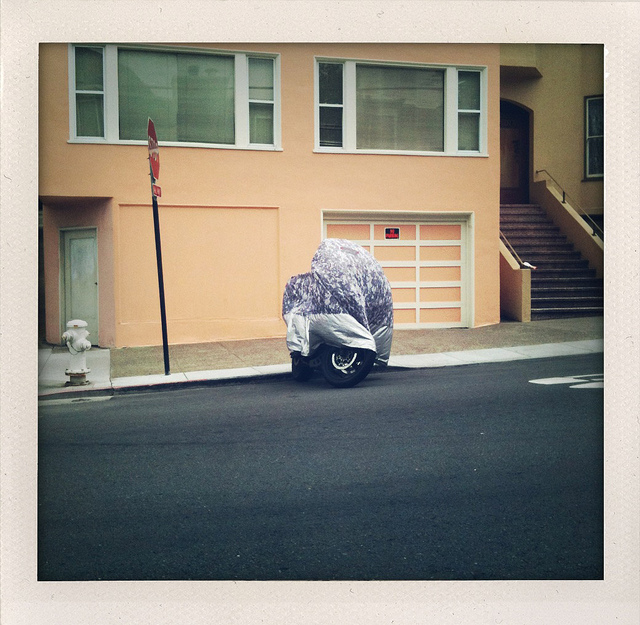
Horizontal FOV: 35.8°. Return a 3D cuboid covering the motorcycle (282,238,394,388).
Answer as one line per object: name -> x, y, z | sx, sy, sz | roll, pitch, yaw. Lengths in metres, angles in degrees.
motorcycle -> 0.055, 0.001, 13.360 | 0.853, 1.958, 2.769 | 1, 4, -23

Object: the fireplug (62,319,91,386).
fireplug -> -3.230, 0.522, 13.215 | 0.326, 0.852, 0.460 | -3, 9, -16
